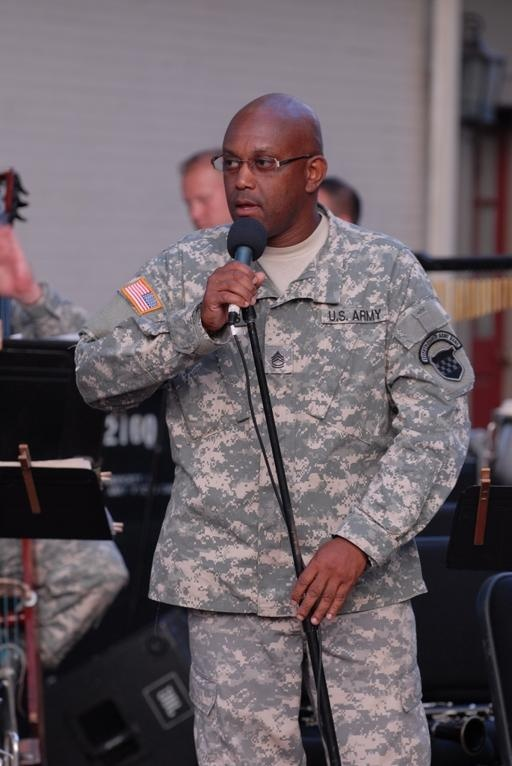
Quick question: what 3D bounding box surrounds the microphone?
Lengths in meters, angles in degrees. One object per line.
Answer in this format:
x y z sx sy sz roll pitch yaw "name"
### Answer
-0.009 -0.196 1.678 0.061 0.197 0.060 -4 -33 9 "microphone"
